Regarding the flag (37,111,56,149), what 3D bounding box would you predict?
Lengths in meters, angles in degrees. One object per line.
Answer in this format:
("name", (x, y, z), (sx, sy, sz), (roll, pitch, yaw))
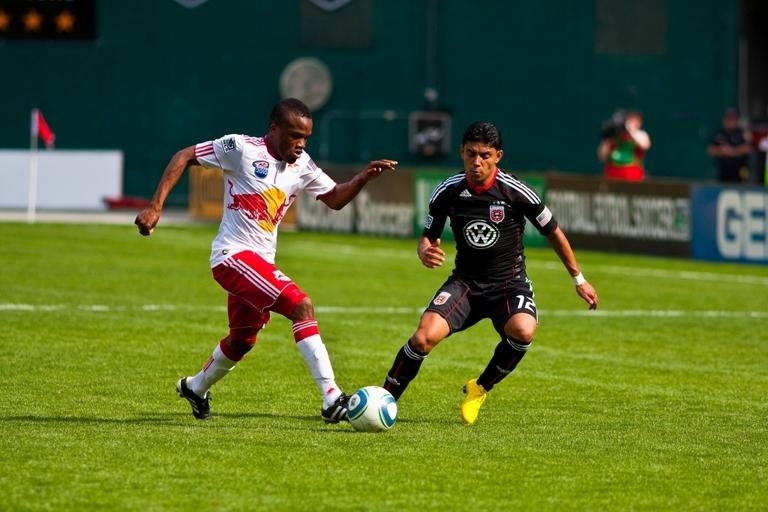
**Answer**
("flag", (-3.251, -1.167, 11.485), (0.117, 0.347, 0.142), (-20, 12, 25))
